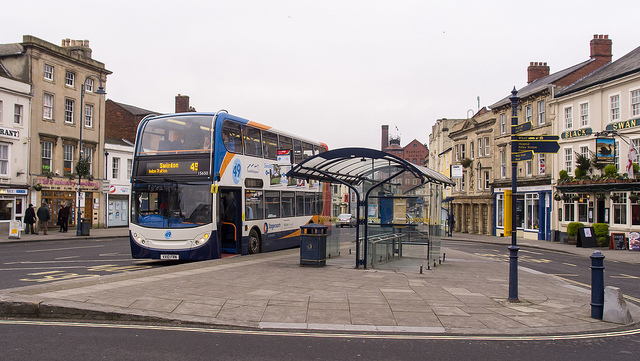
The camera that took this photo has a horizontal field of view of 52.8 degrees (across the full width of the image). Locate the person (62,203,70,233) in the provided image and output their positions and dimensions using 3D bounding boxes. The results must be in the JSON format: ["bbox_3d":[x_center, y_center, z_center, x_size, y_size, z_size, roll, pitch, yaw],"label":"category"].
[{"bbox_3d":[-21.561,3.262,54.421,0.476,2.218,1.260,0,-3,-21],"label":"person"}]

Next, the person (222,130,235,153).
[{"bbox_3d":[-5.086,-2.158,35.391,0.272,1.038,0.634,-9,-10,42],"label":"person"}]

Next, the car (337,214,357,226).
[{"bbox_3d":[2.706,4.811,78.160,1.455,0.972,3.088,0,0,17],"label":"car"}]

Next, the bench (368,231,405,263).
[{"bbox_3d":[3.748,3.618,35.505,0.796,1.636,3.737,-2,-4,30],"label":"bench"}]
